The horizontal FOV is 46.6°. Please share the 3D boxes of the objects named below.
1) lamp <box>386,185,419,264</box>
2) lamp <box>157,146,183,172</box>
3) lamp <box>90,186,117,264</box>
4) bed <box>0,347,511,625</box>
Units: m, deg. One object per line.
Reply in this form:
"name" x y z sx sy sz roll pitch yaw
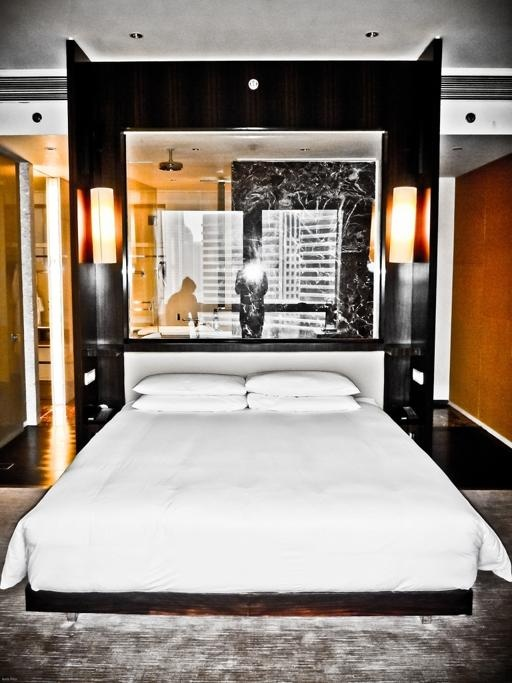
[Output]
"lamp" 0.933 -0.739 3.782 0.160 0.467 0.179 4 13 19
"lamp" -0.564 -1.183 3.926 0.146 0.172 0.149 -2 5 -27
"lamp" -0.966 -0.727 3.737 0.152 0.451 0.168 -4 12 -16
"bed" 0.026 0.648 2.947 1.899 0.522 1.727 0 12 1
